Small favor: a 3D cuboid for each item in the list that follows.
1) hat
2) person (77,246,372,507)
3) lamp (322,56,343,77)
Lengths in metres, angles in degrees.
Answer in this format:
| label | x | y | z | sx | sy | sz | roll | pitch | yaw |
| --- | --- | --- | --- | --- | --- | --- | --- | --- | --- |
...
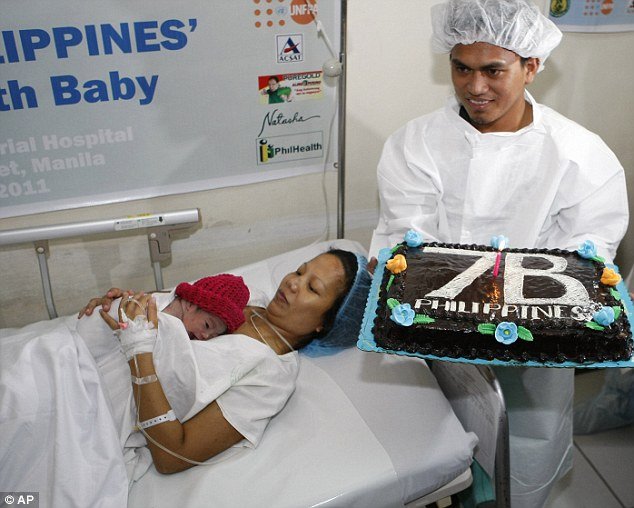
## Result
| label | x | y | z | sx | sy | sz | roll | pitch | yaw |
| --- | --- | --- | --- | --- | --- | --- | --- | --- | --- |
| hat | -0.387 | 0.137 | 1.713 | 0.226 | 0.183 | 0.154 | 20 | 73 | 34 |
| person | -0.202 | 0.331 | 1.660 | 0.793 | 0.339 | 0.675 | -20 | 37 | -25 |
| lamp | 0.069 | -0.791 | 2.009 | 0.079 | 0.071 | 0.063 | -16 | 38 | -38 |
